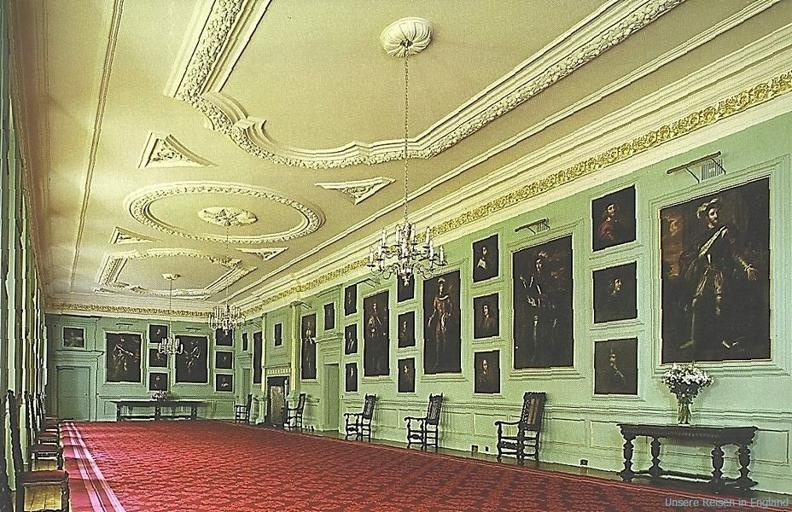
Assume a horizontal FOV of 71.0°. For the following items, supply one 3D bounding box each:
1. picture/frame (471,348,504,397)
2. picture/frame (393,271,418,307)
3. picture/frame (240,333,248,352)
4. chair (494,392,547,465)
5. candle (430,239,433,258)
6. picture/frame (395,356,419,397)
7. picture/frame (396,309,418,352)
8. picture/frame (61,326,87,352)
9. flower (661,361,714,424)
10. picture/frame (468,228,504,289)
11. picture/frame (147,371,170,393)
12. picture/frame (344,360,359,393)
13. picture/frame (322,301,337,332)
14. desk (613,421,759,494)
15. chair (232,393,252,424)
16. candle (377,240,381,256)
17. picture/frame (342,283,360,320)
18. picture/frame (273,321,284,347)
[{"bbox_3d":[2.265,2.798,13.272,0.096,1.191,1.141,8,-13,-32],"label":"picture/frame"},{"bbox_3d":[0.307,0.934,15.075,0.154,1.137,0.989,2,-3,-31],"label":"picture/frame"},{"bbox_3d":[-8.121,4.615,29.436,0.070,1.237,1.109,1,-4,-31],"label":"picture/frame"},{"bbox_3d":[2.796,3.774,11.993,0.826,1.805,1.116,14,-19,-27],"label":"chair"},{"bbox_3d":[0.633,-0.107,9.684,0.083,0.262,0.131,0,-13,2],"label":"candle"},{"bbox_3d":[0.366,3.488,15.992,0.074,1.265,1.163,8,-13,-32],"label":"picture/frame"},{"bbox_3d":[0.371,2.182,16.116,0.092,1.306,1.162,3,-10,-25],"label":"picture/frame"},{"bbox_3d":[-16.330,4.115,27.839,1.016,1.051,0.171,10,-16,-35],"label":"picture/frame"},{"bbox_3d":[4.935,2.336,9.506,0.911,0.975,0.939,-5,-7,42],"label":"flower"},{"bbox_3d":[2.294,0.091,13.637,0.102,1.479,1.313,12,-16,-33],"label":"picture/frame"},{"bbox_3d":[-12.681,6.702,29.219,1.164,1.236,0.162,2,-14,-19],"label":"picture/frame"},{"bbox_3d":[-1.471,4.094,18.734,0.065,1.182,1.119,5,-10,-30],"label":"picture/frame"},{"bbox_3d":[-2.429,2.244,20.394,0.089,1.172,1.012,9,-17,-32],"label":"picture/frame"},{"bbox_3d":[5.185,3.368,9.498,1.141,1.022,2.142,8,-15,-44],"label":"desk"},{"bbox_3d":[-7.624,7.543,27.631,0.827,1.268,4.005,3,-15,-14],"label":"chair"},{"bbox_3d":[-0.270,-0.125,9.782,0.055,0.283,0.216,4,-14,-18],"label":"candle"},{"bbox_3d":[-1.514,1.577,19.051,0.087,1.237,1.093,9,-15,-31],"label":"picture/frame"},{"bbox_3d":[-5.195,3.471,24.438,0.104,1.282,1.129,0,-5,-26],"label":"picture/frame"}]
